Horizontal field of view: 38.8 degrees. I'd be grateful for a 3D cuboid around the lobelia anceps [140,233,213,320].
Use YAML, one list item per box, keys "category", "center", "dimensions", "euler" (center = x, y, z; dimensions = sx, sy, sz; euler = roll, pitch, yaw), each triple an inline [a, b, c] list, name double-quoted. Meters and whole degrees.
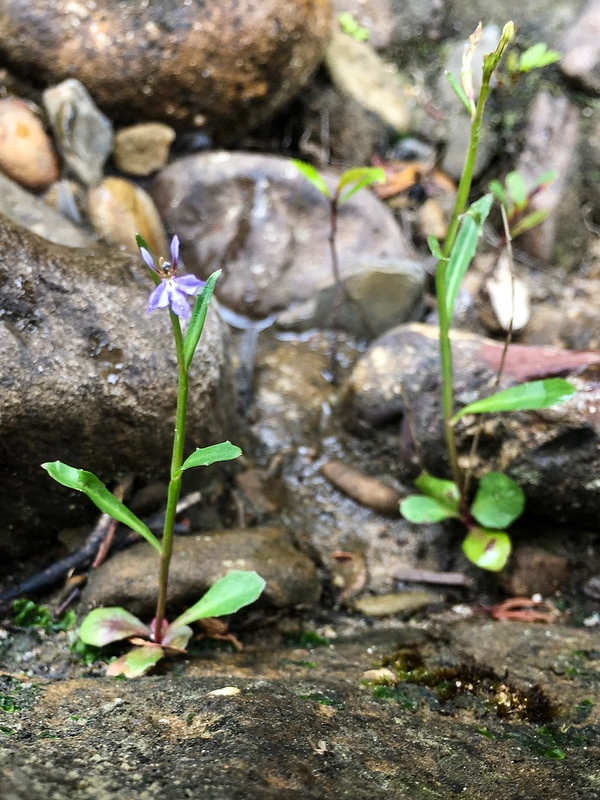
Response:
- category: "lobelia anceps"
  center: [-0.282, -0.269, 1.872]
  dimensions: [0.146, 0.176, 0.267]
  euler: [4, 5, -7]
